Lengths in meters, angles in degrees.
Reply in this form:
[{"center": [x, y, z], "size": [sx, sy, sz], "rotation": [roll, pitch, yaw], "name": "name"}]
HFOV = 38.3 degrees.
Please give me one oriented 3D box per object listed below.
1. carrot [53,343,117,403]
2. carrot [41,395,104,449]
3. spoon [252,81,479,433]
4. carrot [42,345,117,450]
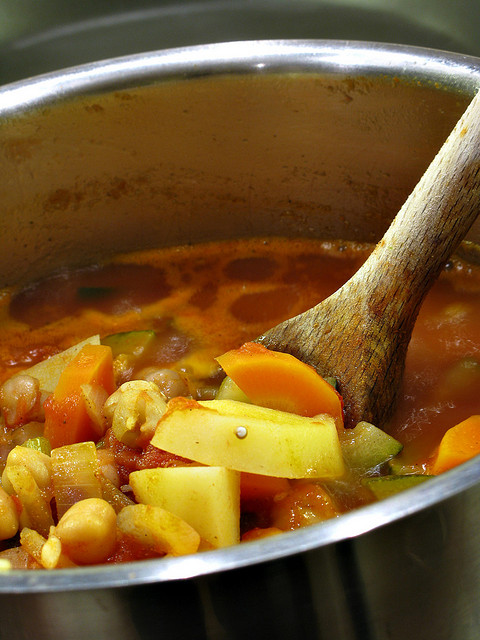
[{"center": [-0.216, 0.067, 0.950], "size": [0.113, 0.079, 0.054], "rotation": [5, 12, -18], "name": "carrot"}, {"center": [-0.197, 0.128, 0.881], "size": [0.100, 0.077, 0.066], "rotation": [-10, 79, 2], "name": "carrot"}, {"center": [0.223, -0.069, 0.915], "size": [0.258, 0.404, 0.222], "rotation": [-20, 47, -29], "name": "spoon"}, {"center": [-0.207, 0.111, 0.962], "size": [0.074, 0.140, 0.170], "rotation": [13, 32, 13], "name": "carrot"}]
